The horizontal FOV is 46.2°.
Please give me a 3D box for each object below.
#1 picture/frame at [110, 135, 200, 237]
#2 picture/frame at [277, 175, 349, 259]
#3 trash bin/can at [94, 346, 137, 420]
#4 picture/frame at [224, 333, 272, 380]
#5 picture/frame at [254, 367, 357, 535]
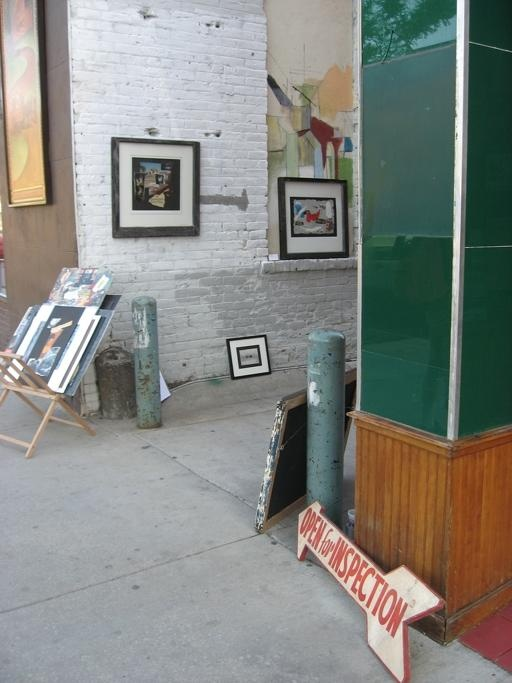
[{"bbox_3d":[-0.880,-1.325,5.020,0.877,0.878,0.069,-4,9,-31],"label":"picture/frame"},{"bbox_3d":[0.530,-1.242,5.935,0.863,0.803,0.115,-3,5,-28],"label":"picture/frame"},{"bbox_3d":[-1.183,0.358,5.192,0.349,0.580,0.336,-17,23,-35],"label":"trash bin/can"},{"bbox_3d":[-0.100,0.139,5.725,0.406,0.406,0.031,-9,5,-33],"label":"picture/frame"},{"bbox_3d":[0.270,0.616,3.202,0.038,0.901,0.763,13,13,25],"label":"picture/frame"}]
